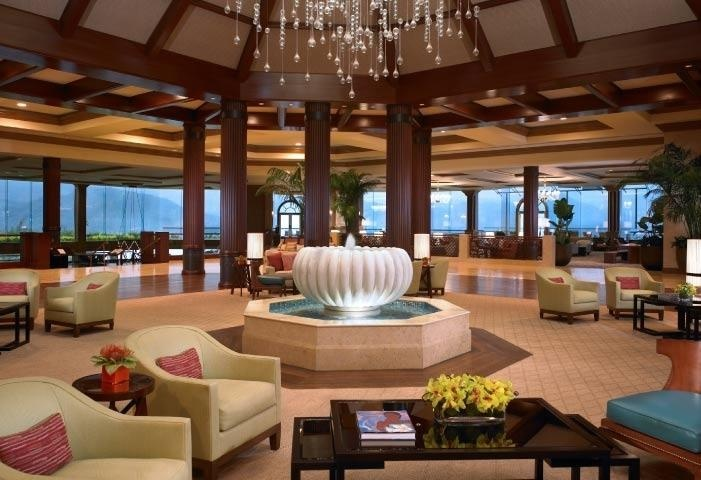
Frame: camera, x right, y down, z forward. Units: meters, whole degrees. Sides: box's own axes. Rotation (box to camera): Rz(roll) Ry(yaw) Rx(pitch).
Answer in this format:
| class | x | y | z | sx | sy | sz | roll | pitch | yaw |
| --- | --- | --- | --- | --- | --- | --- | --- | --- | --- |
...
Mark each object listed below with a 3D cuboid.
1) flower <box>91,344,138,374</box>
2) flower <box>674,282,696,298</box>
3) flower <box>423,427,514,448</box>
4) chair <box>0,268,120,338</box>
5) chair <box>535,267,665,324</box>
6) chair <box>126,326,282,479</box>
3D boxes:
| class | x | y | z | sx | sy | sz | roll | pitch | yaw |
| --- | --- | --- | --- | --- | --- | --- | --- | --- | --- |
| flower | -1.780 | 0.863 | 3.596 | 0.241 | 0.111 | 0.243 | 5 | 2 | 39 |
| flower | 4.912 | 0.746 | 7.099 | 0.208 | 0.187 | 0.213 | -2 | 6 | -11 |
| flower | 0.781 | 1.333 | 3.233 | 0.577 | 0.045 | 0.202 | 0 | 1 | 3 |
| chair | -4.131 | 0.952 | 7.449 | 0.802 | 0.877 | 0.764 | 0 | 1 | 33 |
| chair | 4.335 | 0.954 | 8.554 | 2.062 | 0.892 | 0.807 | -1 | 1 | -5 |
| chair | -1.167 | 1.152 | 4.232 | 1.089 | 1.232 | 1.136 | -2 | -2 | 29 |
